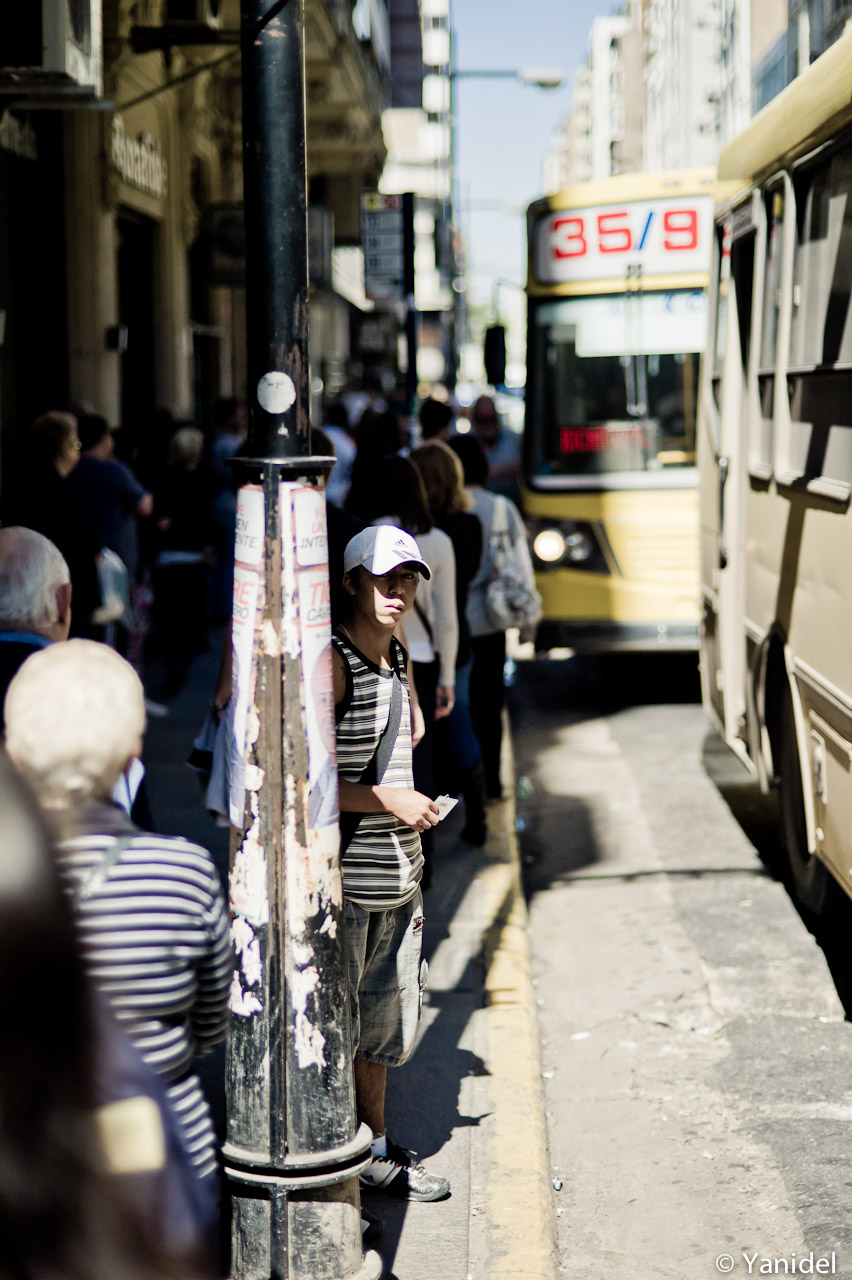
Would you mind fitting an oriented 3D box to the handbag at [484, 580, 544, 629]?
[{"bbox_3d":[0.393,-0.165,7.946,0.156,0.268,0.242,-12,-1,-2],"label":"handbag"}]

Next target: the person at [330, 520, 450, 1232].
[{"bbox_3d":[-0.072,0.594,4.160,0.272,1.698,0.658,0,6,0],"label":"person"}]
